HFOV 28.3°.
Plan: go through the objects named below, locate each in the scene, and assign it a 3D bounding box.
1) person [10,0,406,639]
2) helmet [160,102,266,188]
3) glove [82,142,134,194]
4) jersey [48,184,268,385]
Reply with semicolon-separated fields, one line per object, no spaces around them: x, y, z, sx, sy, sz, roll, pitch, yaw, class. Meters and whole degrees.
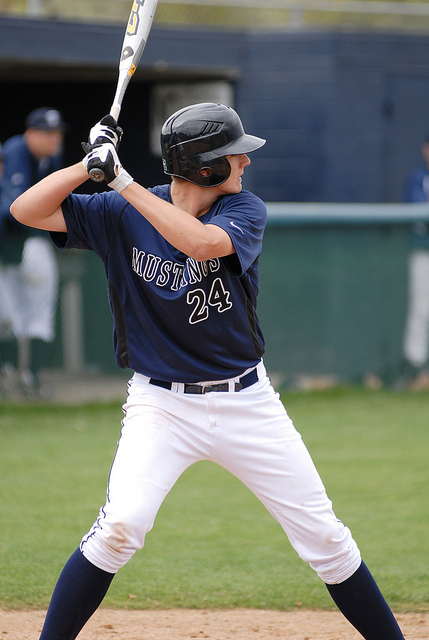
-0.050;0.125;2.151;0.881;1.341;0.471;-1;8;-13;person
-0.006;-0.471;2.211;0.283;0.198;0.209;-5;29;0;helmet
-0.303;-0.375;2.095;0.101;0.053;0.177;17;21;-19;glove
-0.119;-0.090;2.227;0.539;0.499;0.325;-2;19;9;jersey
